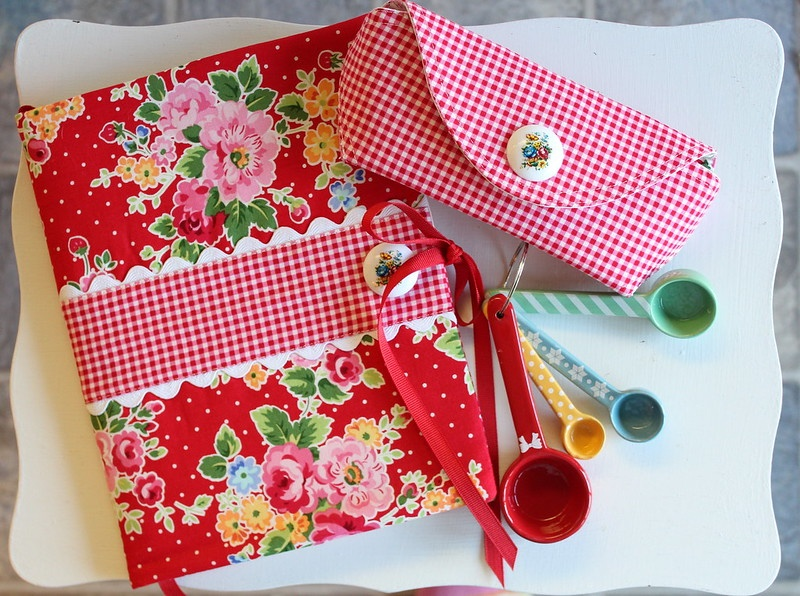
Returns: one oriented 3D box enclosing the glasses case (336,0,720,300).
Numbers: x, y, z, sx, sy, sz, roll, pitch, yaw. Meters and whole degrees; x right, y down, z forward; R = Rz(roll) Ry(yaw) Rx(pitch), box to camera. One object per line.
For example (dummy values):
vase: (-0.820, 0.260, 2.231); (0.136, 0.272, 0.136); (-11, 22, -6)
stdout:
glasses case: (0.150, -0.175, 1.248); (0.461, 0.125, 0.249); (29, 93, -3)

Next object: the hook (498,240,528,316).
hook: (0.130, -0.023, 1.196); (0.004, 0.078, 0.059); (29, 35, 31)

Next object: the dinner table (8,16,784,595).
dinner table: (0.012, 0.017, 1.164); (0.721, 0.189, 0.606); (-1, 82, 6)
